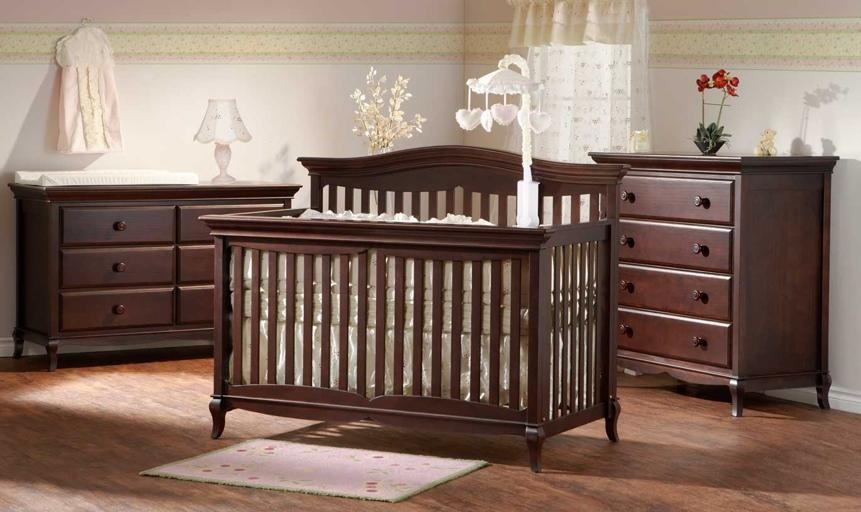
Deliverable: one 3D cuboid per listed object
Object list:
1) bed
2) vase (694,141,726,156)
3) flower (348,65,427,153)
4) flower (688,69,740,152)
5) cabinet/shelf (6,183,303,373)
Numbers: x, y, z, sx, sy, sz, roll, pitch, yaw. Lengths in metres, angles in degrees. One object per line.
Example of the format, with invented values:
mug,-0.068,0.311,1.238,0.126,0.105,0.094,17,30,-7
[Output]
bed,-0.087,0.256,3.841,1.935,1.369,1.026,1,3,31
vase,1.676,-0.646,4.286,0.158,0.051,0.149,0,4,-5
flower,-0.325,-1.155,5.603,0.611,0.696,0.599,0,8,-3
flower,1.741,-0.889,4.361,0.261,0.533,0.481,3,8,19
cabinet/shelf,-2.066,0.119,5.376,0.791,1.243,2.046,3,3,37
